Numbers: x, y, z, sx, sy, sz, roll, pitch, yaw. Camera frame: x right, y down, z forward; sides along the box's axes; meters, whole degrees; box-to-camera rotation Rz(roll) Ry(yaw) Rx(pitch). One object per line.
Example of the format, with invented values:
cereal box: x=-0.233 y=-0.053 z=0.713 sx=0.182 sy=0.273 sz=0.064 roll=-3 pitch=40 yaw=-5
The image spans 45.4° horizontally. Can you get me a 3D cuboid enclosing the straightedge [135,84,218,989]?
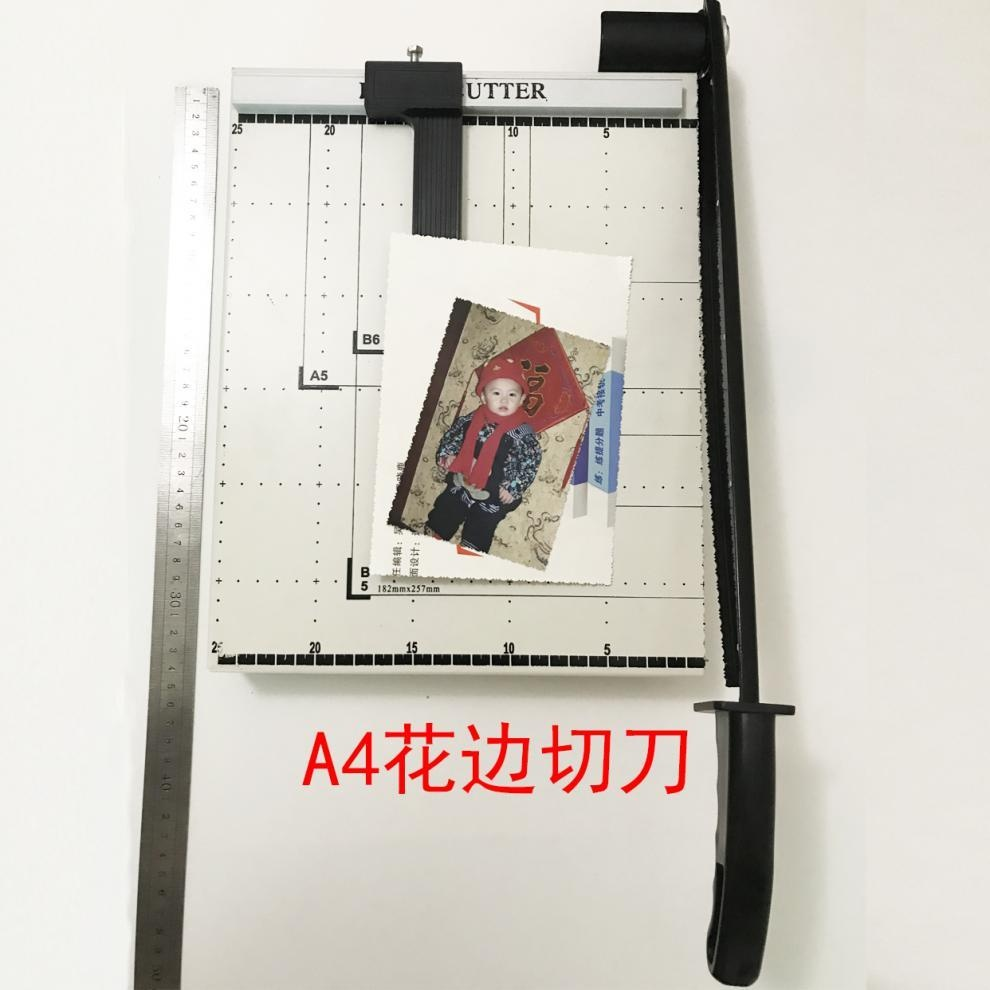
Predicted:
straightedge: x=-0.310 y=0.074 z=1.160 sx=0.040 sy=1.112 sz=0.020 roll=2 pitch=-1 yaw=10
